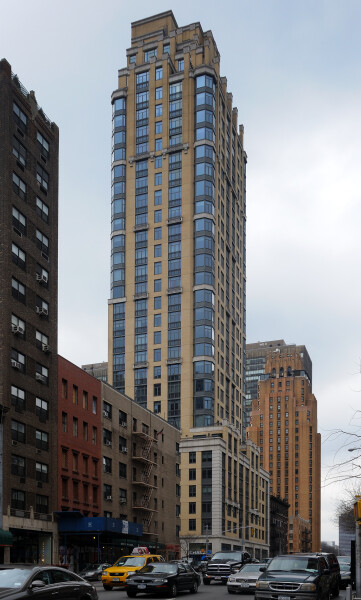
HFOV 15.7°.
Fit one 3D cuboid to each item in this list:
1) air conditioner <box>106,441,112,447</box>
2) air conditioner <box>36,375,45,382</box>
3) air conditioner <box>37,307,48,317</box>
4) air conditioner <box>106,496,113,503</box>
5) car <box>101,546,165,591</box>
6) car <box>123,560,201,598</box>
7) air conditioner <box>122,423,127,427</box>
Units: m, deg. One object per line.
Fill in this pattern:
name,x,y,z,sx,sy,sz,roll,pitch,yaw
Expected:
air conditioner,-5.110,10.380,96.087,0.252,0.404,0.390,5,-20,-21
air conditioner,-9.047,4.997,85.758,0.286,0.427,1.199,-5,-19,11
air conditioner,-9.160,0.741,88.002,0.328,0.511,0.768,-5,-8,25
air conditioner,-5.028,14.261,95.266,0.385,0.520,0.344,0,0,21
car,-2.180,14.319,70.094,1.806,2.570,4.929,-6,-16,25
car,-0.763,13.187,62.601,1.782,1.794,4.178,-15,-23,37
air conditioner,-4.143,9.462,100.533,0.198,0.486,0.466,-1,-9,14
